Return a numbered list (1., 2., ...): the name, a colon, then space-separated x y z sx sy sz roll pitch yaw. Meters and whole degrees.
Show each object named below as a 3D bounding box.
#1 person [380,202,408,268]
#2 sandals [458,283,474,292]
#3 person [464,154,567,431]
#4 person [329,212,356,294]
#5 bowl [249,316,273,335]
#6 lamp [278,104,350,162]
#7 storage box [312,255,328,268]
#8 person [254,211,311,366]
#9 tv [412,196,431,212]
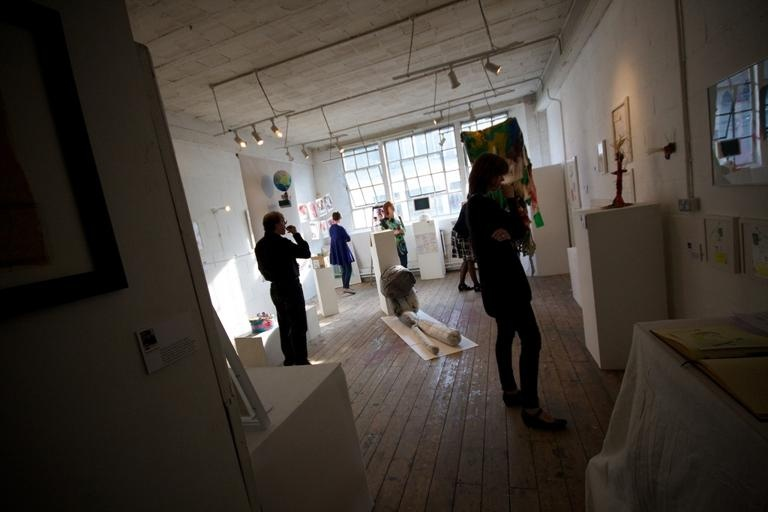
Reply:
1. person: 0.178 -0.408 8.507 0.419 1.193 1.284 -8 10 3
2. sandals: 1.292 0.518 7.370 0.254 0.094 0.120 -3 -17 2
3. person: 0.890 0.267 3.259 0.380 1.976 0.482 -13 10 -23
4. person: -0.862 -0.052 9.335 0.474 1.757 1.597 -9 10 -4
5. bowl: -1.478 0.844 5.601 0.219 0.142 0.175 -11 11 23
6. lamp: -1.596 -2.411 9.216 0.408 1.036 1.726 -3 8 -33
7. storage box: -1.060 0.076 7.607 0.203 0.200 0.347 -11 10 -11
8. person: -1.002 0.350 4.908 0.505 1.639 0.254 -12 10 -17
9. tv: 0.834 -1.082 10.146 0.449 0.410 0.252 -1 3 22
